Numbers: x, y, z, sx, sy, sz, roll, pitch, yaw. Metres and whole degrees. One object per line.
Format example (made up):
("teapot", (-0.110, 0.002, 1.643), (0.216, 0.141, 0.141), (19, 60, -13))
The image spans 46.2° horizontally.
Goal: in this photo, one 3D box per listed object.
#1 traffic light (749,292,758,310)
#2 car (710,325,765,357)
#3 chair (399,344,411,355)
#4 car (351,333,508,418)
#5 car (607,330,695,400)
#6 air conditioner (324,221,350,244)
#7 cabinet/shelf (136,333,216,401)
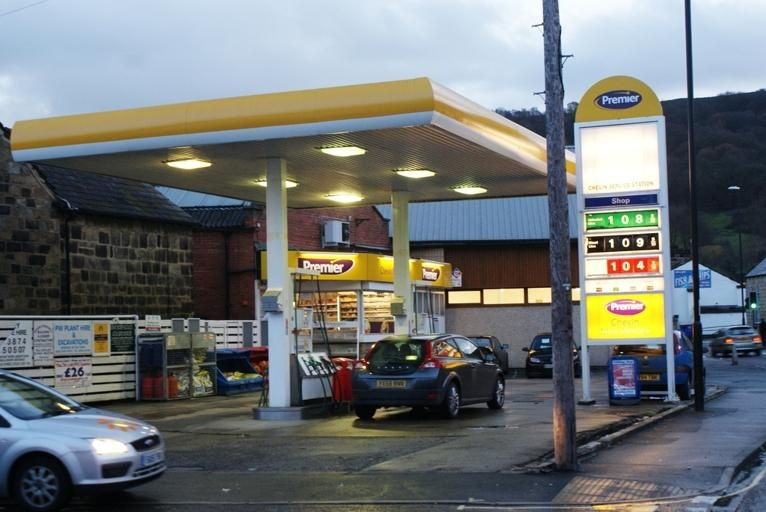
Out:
("traffic light", (19.531, 2.346, 47.442), (0.342, 0.871, 0.802), (-7, -7, 19))
("car", (20.155, 4.866, 51.266), (2.368, 1.725, 6.786), (-6, -7, 14))
("chair", (0.498, 2.106, 20.164), (0.193, 0.121, 0.202), (-2, -2, 32))
("car", (1.174, 2.765, 20.739), (3.439, 1.925, 1.590), (2, -9, -39))
("car", (7.249, 2.957, 23.828), (1.401, 1.799, 3.119), (-10, -9, 38))
("air conditioner", (-1.800, -0.962, 37.346), (0.988, 1.057, 1.687), (-1, -4, 21))
("cabinet/shelf", (-6.062, 3.210, 25.964), (0.895, 1.566, 2.133), (-4, -6, 32))
